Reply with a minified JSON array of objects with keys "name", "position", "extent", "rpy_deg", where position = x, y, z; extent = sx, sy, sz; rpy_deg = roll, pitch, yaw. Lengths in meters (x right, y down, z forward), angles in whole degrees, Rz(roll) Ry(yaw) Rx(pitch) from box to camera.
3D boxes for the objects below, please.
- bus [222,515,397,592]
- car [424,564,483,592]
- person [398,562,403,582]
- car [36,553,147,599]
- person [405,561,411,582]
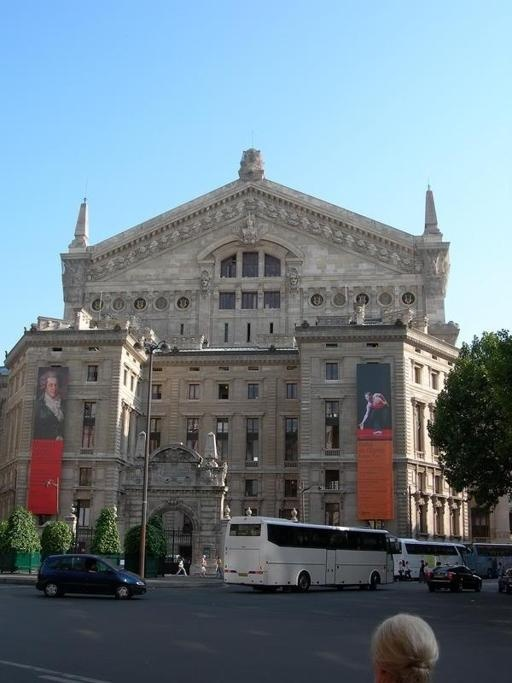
[{"name":"bus","position":[3.262,10.859,41.655],"extent":[11.800,3.478,3.265],"rpy_deg":[14,-21,-39]},{"name":"car","position":[10.091,12.246,42.276],"extent":[1.487,0.987,3.258],"rpy_deg":[-9,-14,42]},{"name":"person","position":[9.930,15.755,56.774],"extent":[0.249,1.200,0.486],"rpy_deg":[-10,-21,35]},{"name":"car","position":[-5.888,8.339,29.239],"extent":[3.203,1.183,1.734],"rpy_deg":[-1,-16,-1]},{"name":"person","position":[10.535,15.934,57.221],"extent":[0.374,1.070,0.799],"rpy_deg":[5,-5,0]}]
